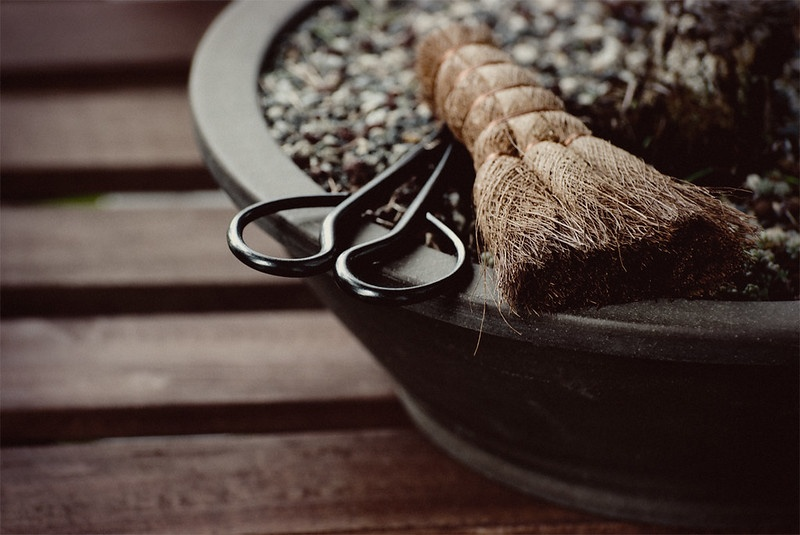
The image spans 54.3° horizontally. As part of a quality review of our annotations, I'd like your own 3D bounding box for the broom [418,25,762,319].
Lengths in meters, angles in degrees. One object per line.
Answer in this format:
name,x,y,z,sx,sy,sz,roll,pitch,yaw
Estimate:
broom,0.150,-0.109,0.810,0.238,0.224,0.363,-28,36,-32
